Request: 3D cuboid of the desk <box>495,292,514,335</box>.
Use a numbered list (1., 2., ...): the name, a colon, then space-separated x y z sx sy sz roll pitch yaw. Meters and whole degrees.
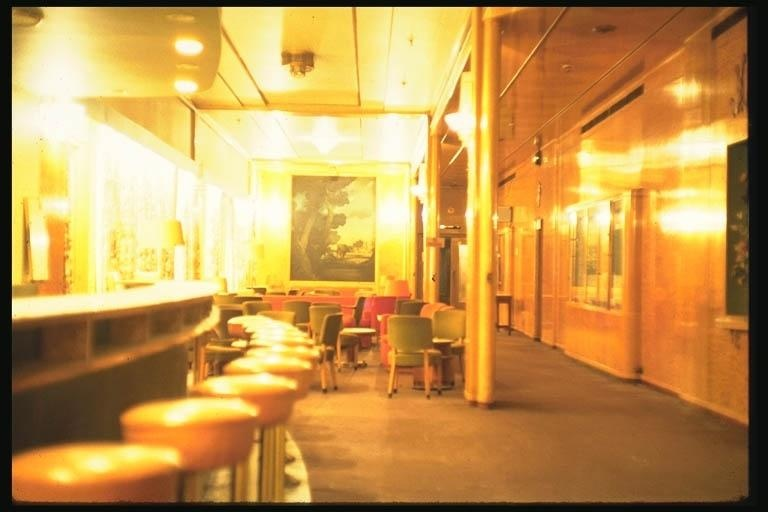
1. desk: 2.849 1.389 14.611 0.407 0.934 1.090 1 -3 12
